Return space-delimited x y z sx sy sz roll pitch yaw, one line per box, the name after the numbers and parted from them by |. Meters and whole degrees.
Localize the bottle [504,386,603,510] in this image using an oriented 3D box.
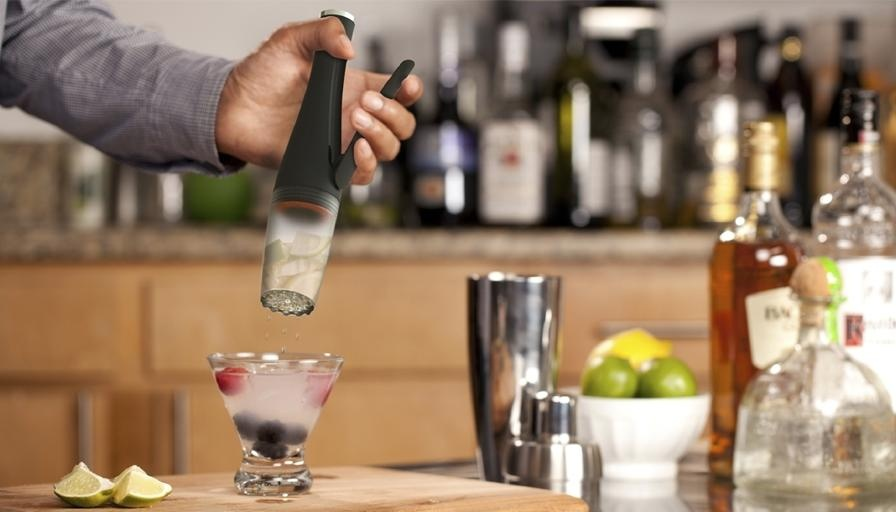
0.157 0.282 1.459 0.175 0.213 0.148 0 -9 0 | bottle

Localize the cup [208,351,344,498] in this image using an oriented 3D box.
-0.240 0.248 1.490 0.226 0.186 0.205 1 -7 -1 | cup

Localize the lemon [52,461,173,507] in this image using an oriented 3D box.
-0.467 0.326 1.426 0.102 0.038 0.086 6 -4 -5 | lemon

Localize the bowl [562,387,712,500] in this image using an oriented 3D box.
0.300 0.293 1.597 0.275 0.131 0.255 -1 -3 0 | bowl

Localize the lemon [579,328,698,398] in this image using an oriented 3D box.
0.302 0.185 1.625 0.133 0.054 0.121 -9 36 5 | lemon
